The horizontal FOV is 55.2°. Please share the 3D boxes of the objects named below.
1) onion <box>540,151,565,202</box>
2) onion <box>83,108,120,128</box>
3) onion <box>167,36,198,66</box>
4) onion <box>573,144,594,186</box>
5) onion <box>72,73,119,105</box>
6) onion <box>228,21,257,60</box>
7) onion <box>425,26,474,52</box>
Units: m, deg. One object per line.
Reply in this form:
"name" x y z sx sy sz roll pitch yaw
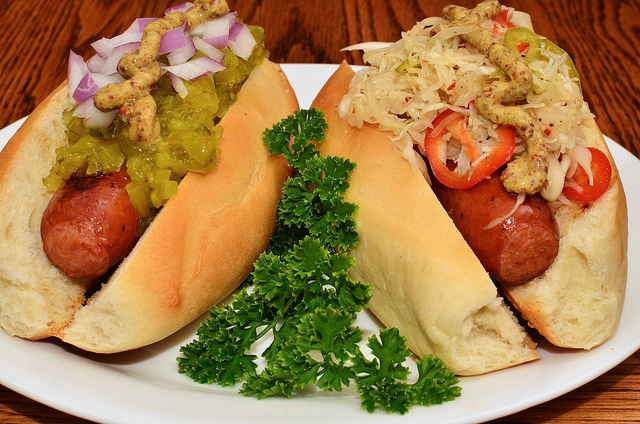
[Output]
"onion" 1.318 -0.207 3.595 0.060 0.177 0.246 9 96 -1
"onion" -1.297 -0.543 3.656 0.143 0.106 0.130 -25 30 1
"onion" -0.862 -0.997 3.856 0.179 0.070 0.134 -37 36 4
"onion" 1.560 -0.285 3.629 0.118 0.050 0.219 -10 92 -13
"onion" -1.329 -0.739 3.746 0.259 0.278 0.090 32 111 13
"onion" -0.533 -1.173 4.188 0.068 0.229 0.204 -7 52 41
"onion" 0.819 -1.084 3.837 0.305 0.076 0.066 -23 81 0
